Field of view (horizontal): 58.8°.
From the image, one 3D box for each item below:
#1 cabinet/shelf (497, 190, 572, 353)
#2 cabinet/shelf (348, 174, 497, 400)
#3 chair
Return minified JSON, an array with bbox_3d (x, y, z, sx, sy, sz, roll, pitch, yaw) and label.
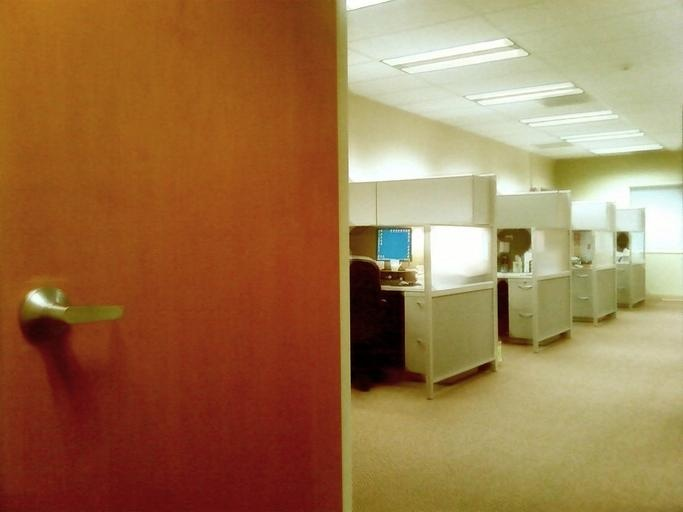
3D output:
[{"bbox_3d":[1.925,0.136,6.242,0.818,1.436,0.875,-2,1,33],"label":"cabinet/shelf"},{"bbox_3d":[0.655,0.172,4.774,0.906,1.533,0.992,-5,2,-19],"label":"cabinet/shelf"},{"bbox_3d":[0.190,0.474,4.334,0.238,0.956,0.542,0,3,1],"label":"chair"}]
